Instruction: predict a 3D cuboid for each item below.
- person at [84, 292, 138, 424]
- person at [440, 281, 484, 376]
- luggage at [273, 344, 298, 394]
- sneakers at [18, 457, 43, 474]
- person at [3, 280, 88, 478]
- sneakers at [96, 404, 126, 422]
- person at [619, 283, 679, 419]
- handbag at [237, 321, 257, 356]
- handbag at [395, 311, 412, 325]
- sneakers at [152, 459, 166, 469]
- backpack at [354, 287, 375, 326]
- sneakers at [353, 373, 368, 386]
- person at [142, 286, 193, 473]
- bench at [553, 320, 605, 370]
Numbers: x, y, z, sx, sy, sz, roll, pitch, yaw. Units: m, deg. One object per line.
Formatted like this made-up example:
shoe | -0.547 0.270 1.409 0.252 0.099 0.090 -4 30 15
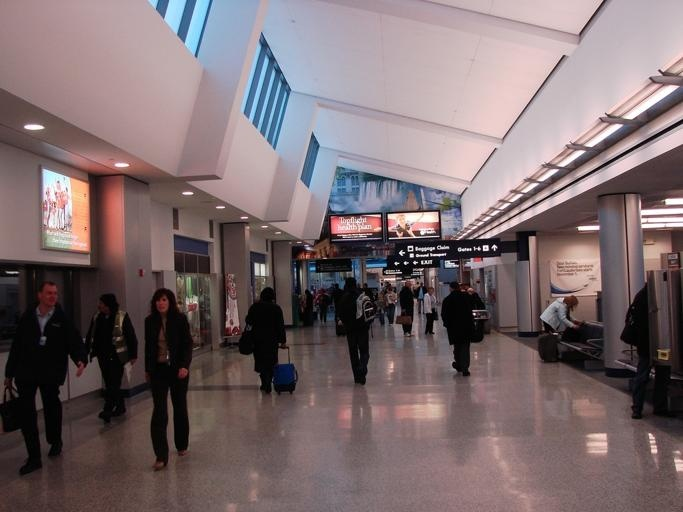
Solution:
person | -3.580 1.561 7.693 0.804 1.950 0.517 0 -3 -10
person | 2.531 1.486 10.488 0.791 1.916 1.005 -1 -3 15
luggage | -1.055 2.019 9.004 0.438 0.925 0.212 -2 10 -1
sneakers | -3.573 2.412 5.702 0.232 0.155 0.107 11 -12 -39
person | -3.594 1.403 6.038 0.830 2.175 0.615 2 -3 -36
sneakers | -3.558 2.450 7.708 0.151 0.235 0.521 3 5 6
person | 4.347 1.311 7.118 0.579 1.871 0.732 -2 -3 34
handbag | -1.784 1.521 9.047 0.316 0.552 0.294 2 -3 -44
handbag | 2.138 2.160 17.199 0.393 0.375 0.512 7 -9 -28
sneakers | -2.090 2.384 5.696 0.063 0.082 0.181 1 0 -3
backpack | 0.476 0.976 9.811 0.444 0.896 0.701 -2 -4 26
sneakers | 0.350 2.334 9.533 0.220 0.241 0.310 0 -2 0
person | -2.051 1.399 5.870 0.519 2.026 0.426 1 -3 -23
bench | 5.365 1.983 11.171 0.543 0.959 1.436 -1 -1 -3
